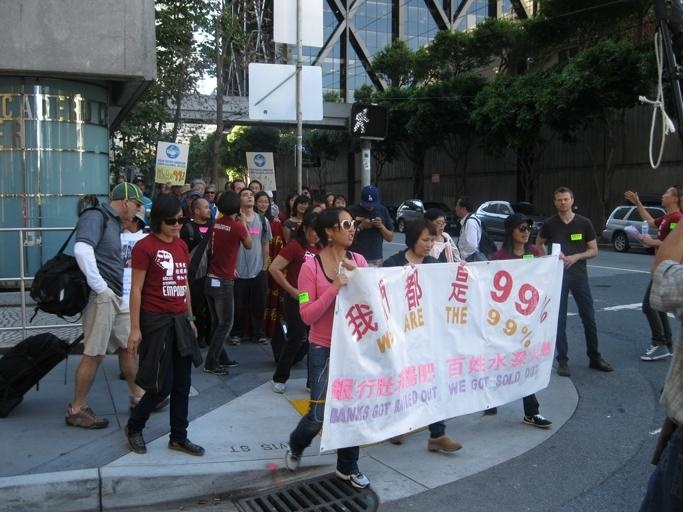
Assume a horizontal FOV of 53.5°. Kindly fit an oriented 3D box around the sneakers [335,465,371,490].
[{"bbox_3d":[0.102,1.972,6.120,0.289,0.143,0.142,9,12,21],"label":"sneakers"}]

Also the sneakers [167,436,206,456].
[{"bbox_3d":[-1.453,1.790,6.337,0.318,0.133,0.136,7,5,11],"label":"sneakers"}]

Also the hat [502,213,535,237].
[{"bbox_3d":[2.116,-0.372,8.222,0.222,0.183,0.317,0,-4,-31],"label":"hat"}]

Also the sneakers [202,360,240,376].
[{"bbox_3d":[-1.542,1.453,8.685,0.422,0.206,0.153,-8,3,6],"label":"sneakers"}]

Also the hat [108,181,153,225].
[{"bbox_3d":[-2.191,-0.583,7.276,0.541,0.360,0.365,-7,22,-42],"label":"hat"}]

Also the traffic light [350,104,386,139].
[{"bbox_3d":[0.485,-2.556,12.850,0.584,0.566,0.235,-2,4,-26],"label":"traffic light"}]

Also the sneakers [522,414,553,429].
[{"bbox_3d":[2.123,1.796,7.345,0.294,0.141,0.122,1,7,29],"label":"sneakers"}]

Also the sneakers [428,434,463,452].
[{"bbox_3d":[1.016,1.871,6.782,0.351,0.171,0.150,-5,1,28],"label":"sneakers"}]

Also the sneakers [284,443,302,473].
[{"bbox_3d":[-0.449,1.854,6.174,0.092,0.122,0.267,15,10,-26],"label":"sneakers"}]

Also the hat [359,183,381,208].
[{"bbox_3d":[0.411,-0.892,9.705,0.210,0.187,0.342,0,44,-2],"label":"hat"}]

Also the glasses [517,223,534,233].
[{"bbox_3d":[2.165,-0.324,8.102,0.135,0.059,0.143,3,-10,-33],"label":"glasses"}]

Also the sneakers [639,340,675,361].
[{"bbox_3d":[4.496,1.362,9.650,0.572,0.300,0.205,-2,-1,1],"label":"sneakers"}]

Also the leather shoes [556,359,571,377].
[{"bbox_3d":[2.956,1.469,9.016,0.156,0.183,0.309,5,10,18],"label":"leather shoes"}]

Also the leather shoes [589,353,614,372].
[{"bbox_3d":[3.532,1.447,9.128,0.135,0.285,0.368,-3,0,-36],"label":"leather shoes"}]

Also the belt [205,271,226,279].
[{"bbox_3d":[-1.579,0.244,8.570,0.152,0.069,0.121,6,-4,14],"label":"belt"}]

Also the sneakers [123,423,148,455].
[{"bbox_3d":[-1.936,1.698,6.389,0.339,0.150,0.124,42,21,31],"label":"sneakers"}]

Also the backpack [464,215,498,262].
[{"bbox_3d":[1.855,-0.219,9.303,0.626,0.733,0.431,-1,4,1],"label":"backpack"}]

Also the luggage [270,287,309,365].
[{"bbox_3d":[-0.570,0.809,8.094,0.252,1.026,0.306,3,14,10],"label":"luggage"}]

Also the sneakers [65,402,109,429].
[{"bbox_3d":[-2.578,1.605,6.876,0.430,0.221,0.194,8,0,-1],"label":"sneakers"}]
